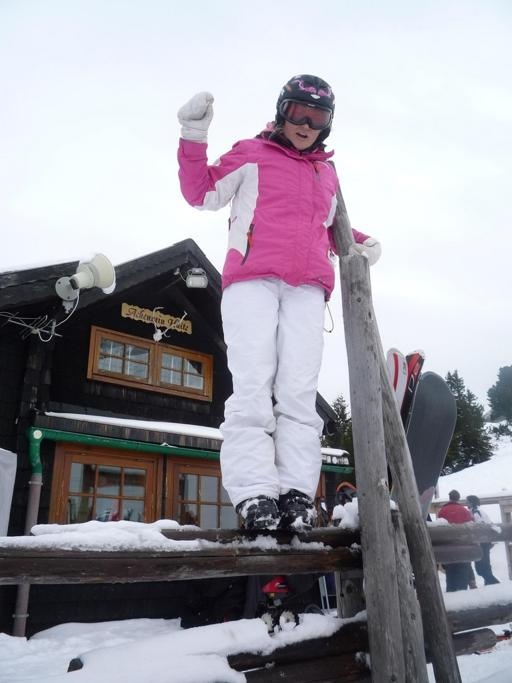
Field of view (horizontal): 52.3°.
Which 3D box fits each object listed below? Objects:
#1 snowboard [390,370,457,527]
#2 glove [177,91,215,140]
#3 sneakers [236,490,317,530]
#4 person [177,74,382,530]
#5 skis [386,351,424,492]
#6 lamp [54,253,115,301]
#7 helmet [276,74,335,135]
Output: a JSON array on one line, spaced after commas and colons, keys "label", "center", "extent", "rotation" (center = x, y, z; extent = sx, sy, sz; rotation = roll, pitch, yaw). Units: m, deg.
[{"label": "snowboard", "center": [1.074, 0.473, 3.179], "extent": [0.233, 0.897, 0.135], "rotation": [7, -50, 15]}, {"label": "glove", "center": [-0.260, -0.919, 2.110], "extent": [0.132, 0.236, 0.219], "rotation": [-9, -57, -24]}, {"label": "sneakers", "center": [0.089, 0.554, 1.794], "extent": [0.227, 0.086, 0.146], "rotation": [8, -11, -33]}, {"label": "person", "center": [0.053, -0.229, 2.150], "extent": [0.840, 1.889, 0.574], "rotation": [6, -20, -15]}, {"label": "skis", "center": [0.796, 0.477, 2.889], "extent": [0.221, 0.834, 0.177], "rotation": [0, 8, -3]}, {"label": "lamp", "center": [-1.914, -0.727, 5.920], "extent": [0.533, 0.389, 0.439], "rotation": [-22, 14, -30]}, {"label": "helmet", "center": [0.229, -1.070, 2.368], "extent": [0.228, 0.289, 0.264], "rotation": [7, -59, -14]}]
